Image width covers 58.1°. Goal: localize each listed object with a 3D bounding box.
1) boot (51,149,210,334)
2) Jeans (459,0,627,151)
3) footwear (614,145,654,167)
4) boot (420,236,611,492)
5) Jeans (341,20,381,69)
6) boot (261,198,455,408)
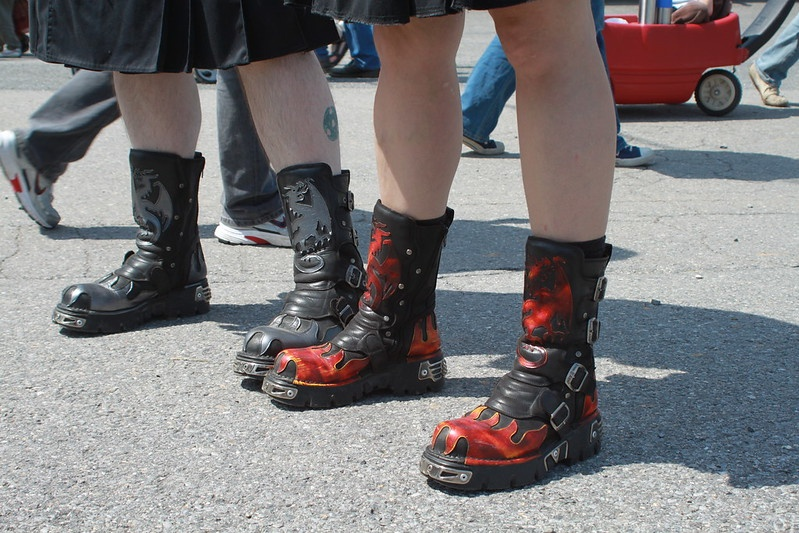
[{"bbox_3d":[-0.926,-0.088,2.419,0.267,0.560,0.645,13,14,29],"label":"boot"},{"bbox_3d":[0.832,-1.126,4.489,0.561,0.980,1.573,-2,4,6],"label":"Jeans"},{"bbox_3d":[1.490,-0.682,4.464,0.309,0.123,0.124,-13,28,-31],"label":"footwear"},{"bbox_3d":[0.307,0.231,1.695,0.497,0.548,0.253,-19,32,-37],"label":"boot"},{"bbox_3d":[-0.404,-2.271,7.440,0.354,0.479,0.721,0,24,-4],"label":"Jeans"},{"bbox_3d":[-0.121,0.117,2.022,0.584,0.487,0.215,-4,12,-23],"label":"boot"}]
